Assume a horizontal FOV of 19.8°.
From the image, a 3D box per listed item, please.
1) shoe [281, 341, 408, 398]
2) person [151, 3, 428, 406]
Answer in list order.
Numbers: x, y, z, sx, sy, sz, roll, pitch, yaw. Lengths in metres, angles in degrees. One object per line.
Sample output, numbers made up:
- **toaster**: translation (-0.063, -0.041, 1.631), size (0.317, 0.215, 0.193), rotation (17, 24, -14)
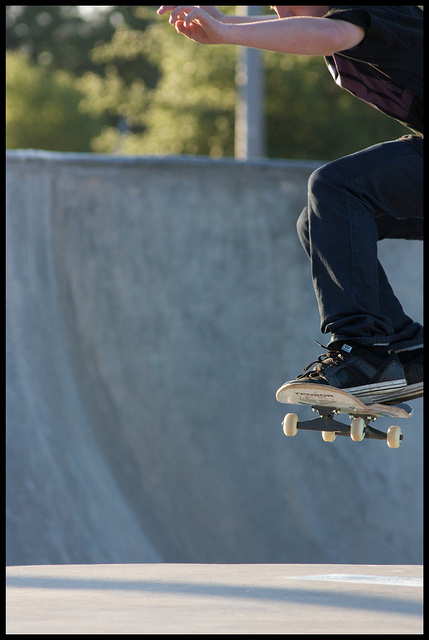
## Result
- **shoe**: translation (0.451, 0.211, 4.771), size (0.585, 0.247, 0.189), rotation (2, -29, -12)
- **person**: translation (0.429, -0.549, 4.999), size (0.841, 1.784, 1.107), rotation (1, -4, 0)
